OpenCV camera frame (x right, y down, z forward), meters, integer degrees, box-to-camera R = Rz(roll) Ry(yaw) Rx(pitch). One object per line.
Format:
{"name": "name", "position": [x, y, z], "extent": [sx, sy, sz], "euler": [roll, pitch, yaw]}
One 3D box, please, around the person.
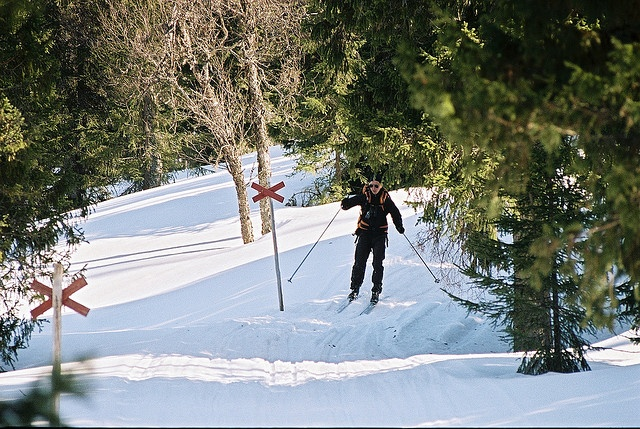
{"name": "person", "position": [1.301, 0.654, 32.381], "extent": [1.463, 2.999, 0.809], "euler": [-6, 13, -1]}

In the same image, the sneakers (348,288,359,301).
{"name": "sneakers", "position": [0.841, 2.012, 32.575], "extent": [0.140, 0.151, 0.406], "euler": [15, 54, 16]}
